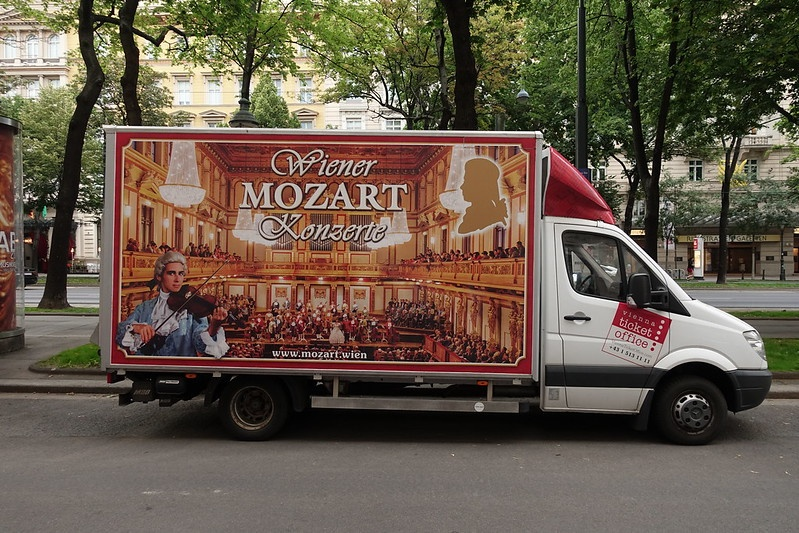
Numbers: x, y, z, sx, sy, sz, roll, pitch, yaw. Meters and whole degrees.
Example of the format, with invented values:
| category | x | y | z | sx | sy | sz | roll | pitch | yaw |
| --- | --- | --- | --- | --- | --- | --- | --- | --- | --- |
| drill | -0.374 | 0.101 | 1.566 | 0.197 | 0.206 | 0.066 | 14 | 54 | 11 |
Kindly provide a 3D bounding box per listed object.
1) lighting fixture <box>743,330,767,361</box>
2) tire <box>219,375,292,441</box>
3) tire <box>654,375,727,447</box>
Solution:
| category | x | y | z | sx | sy | sz | roll | pitch | yaw |
| --- | --- | --- | --- | --- | --- | --- | --- | --- | --- |
| lighting fixture | 7.515 | 1.652 | 17.998 | 0.467 | 0.683 | 0.232 | -7 | -11 | -36 |
| tire | -3.137 | 2.971 | 17.968 | 1.285 | 1.344 | 0.460 | 4 | 0 | 3 |
| tire | 6.154 | 3.033 | 17.838 | 1.351 | 1.409 | 0.577 | 6 | -1 | -6 |
